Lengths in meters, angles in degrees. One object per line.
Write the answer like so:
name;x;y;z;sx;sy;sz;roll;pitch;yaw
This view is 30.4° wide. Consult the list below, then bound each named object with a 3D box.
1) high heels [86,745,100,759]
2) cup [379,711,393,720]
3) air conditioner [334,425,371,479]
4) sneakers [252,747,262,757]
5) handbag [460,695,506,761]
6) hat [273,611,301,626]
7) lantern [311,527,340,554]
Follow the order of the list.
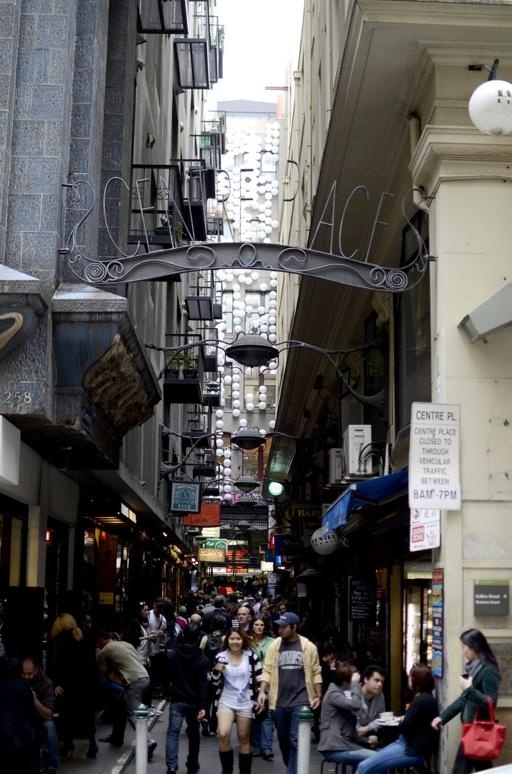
high heels;-1.893;4.254;10.839;0.109;0.139;0.256;6;-11;-11
cup;1.196;3.046;8.629;0.103;0.085;0.092;-1;-8;-2
air conditioner;1.464;0.994;13.725;0.293;0.782;0.836;1;-9;-2
sneakers;0.007;4.519;11.514;0.089;0.120;0.292;0;-26;3
handbag;1.619;2.538;6.858;0.270;0.474;0.384;7;-11;-19
hat;0.316;2.339;9.378;0.196;0.128;0.145;16;-18;-10
lantern;1.303;2.912;17.746;0.499;0.504;1.896;3;-11;5
